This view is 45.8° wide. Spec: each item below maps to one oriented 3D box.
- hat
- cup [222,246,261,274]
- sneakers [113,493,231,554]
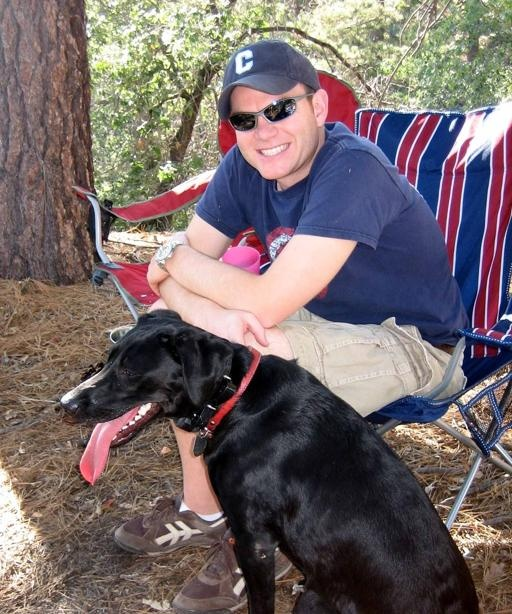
[{"bbox_3d":[0.060,-0.827,2.194,0.234,0.143,0.316,0,5,32],"label":"hat"},{"bbox_3d":[-0.063,-0.204,2.523,0.121,0.135,0.124,0,9,0],"label":"cup"},{"bbox_3d":[-0.333,0.819,2.362,0.537,0.202,0.171,1,11,-12],"label":"sneakers"}]
